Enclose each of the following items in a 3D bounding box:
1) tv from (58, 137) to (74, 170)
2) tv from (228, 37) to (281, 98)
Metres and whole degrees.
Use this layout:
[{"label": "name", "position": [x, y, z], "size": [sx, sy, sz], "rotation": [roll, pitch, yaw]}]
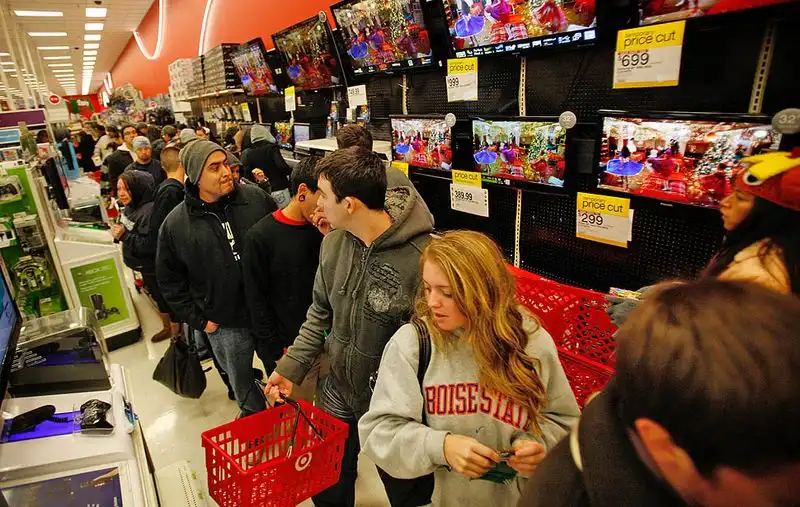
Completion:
[{"label": "tv", "position": [-6.192, -1.894, 8.853], "size": [0.145, 0.548, 0.529], "rotation": [-4, -4, -17]}, {"label": "tv", "position": [-1.925, -2.543, 6.340], "size": [0.199, 0.820, 1.410], "rotation": [-34, 23, -21]}]
